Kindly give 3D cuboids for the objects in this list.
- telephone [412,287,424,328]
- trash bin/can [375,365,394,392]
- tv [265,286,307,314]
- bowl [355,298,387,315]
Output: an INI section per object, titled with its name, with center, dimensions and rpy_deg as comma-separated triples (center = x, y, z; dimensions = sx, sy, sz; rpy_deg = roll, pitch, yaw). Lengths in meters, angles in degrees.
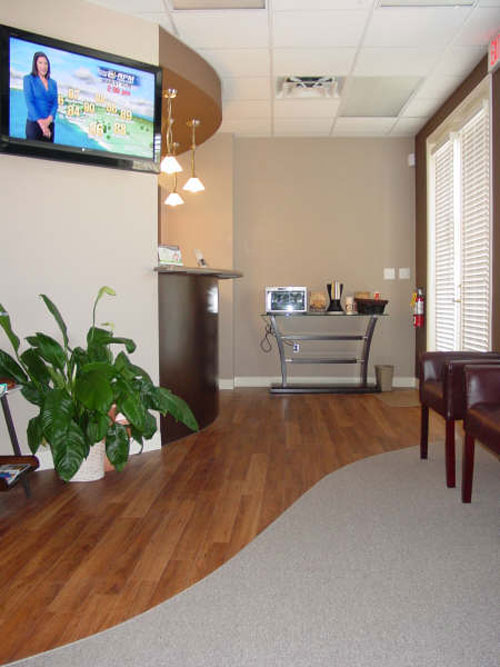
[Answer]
[telephone]
center = 1.737, -0.247, 5.253
dimensions = 0.103, 0.423, 0.360
rpy_deg = 0, 9, 15
[trash bin/can]
center = 1.370, 0.458, 5.188
dimensions = 0.230, 0.222, 0.156
rpy_deg = 0, 12, -4
[tv]
center = 0.356, -0.342, 5.073
dimensions = 0.438, 0.292, 0.251
rpy_deg = 0, 0, 5
[bowl]
center = 1.163, -0.270, 5.028
dimensions = 0.376, 0.158, 0.134
rpy_deg = 7, 13, 44
